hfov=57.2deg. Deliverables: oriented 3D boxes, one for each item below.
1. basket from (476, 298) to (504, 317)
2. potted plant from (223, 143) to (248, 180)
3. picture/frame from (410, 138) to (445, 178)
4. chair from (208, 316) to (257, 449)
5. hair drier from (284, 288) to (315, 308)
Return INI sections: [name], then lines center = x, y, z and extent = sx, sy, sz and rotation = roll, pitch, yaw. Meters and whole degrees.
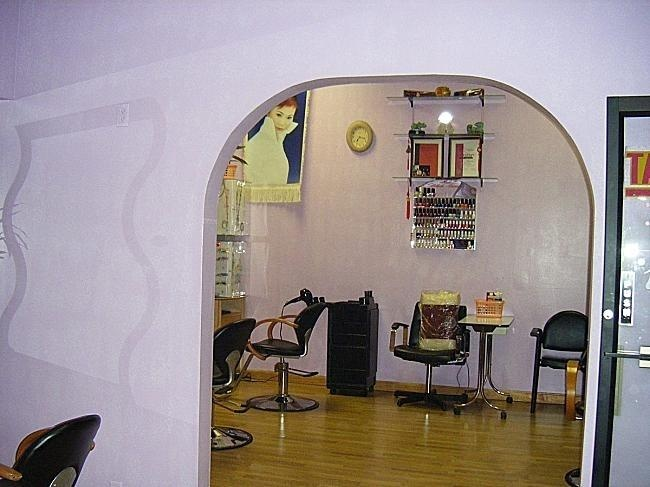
[basket]
center = 1.668, 0.641, 6.008
extent = 0.213, 0.133, 0.165
rotation = 2, 0, 15
[potted plant]
center = -1.001, -0.933, 6.845
extent = 0.225, 0.439, 0.719
rotation = 0, 3, -6
[picture/frame]
center = 1.136, -0.931, 6.488
extent = 0.378, 0.511, 0.066
rotation = 0, -1, 7
[chair]
center = -0.737, 1.117, 4.835
extent = 0.348, 1.017, 0.637
rotation = 0, 3, -10
[hair drier]
center = -0.278, 0.578, 6.396
extent = 0.274, 0.164, 0.217
rotation = -7, 2, 2
